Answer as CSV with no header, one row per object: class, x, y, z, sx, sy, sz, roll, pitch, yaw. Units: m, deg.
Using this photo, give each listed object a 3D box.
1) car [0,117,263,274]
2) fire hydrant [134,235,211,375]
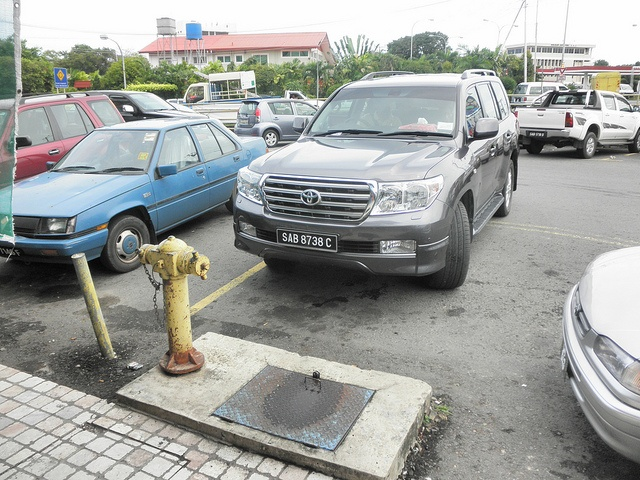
car,-2.601,-0.891,6.408,1.904,1.416,3.964,8,19,29
fire hydrant,-1.200,0.522,3.380,0.577,1.098,0.343,6,20,21
